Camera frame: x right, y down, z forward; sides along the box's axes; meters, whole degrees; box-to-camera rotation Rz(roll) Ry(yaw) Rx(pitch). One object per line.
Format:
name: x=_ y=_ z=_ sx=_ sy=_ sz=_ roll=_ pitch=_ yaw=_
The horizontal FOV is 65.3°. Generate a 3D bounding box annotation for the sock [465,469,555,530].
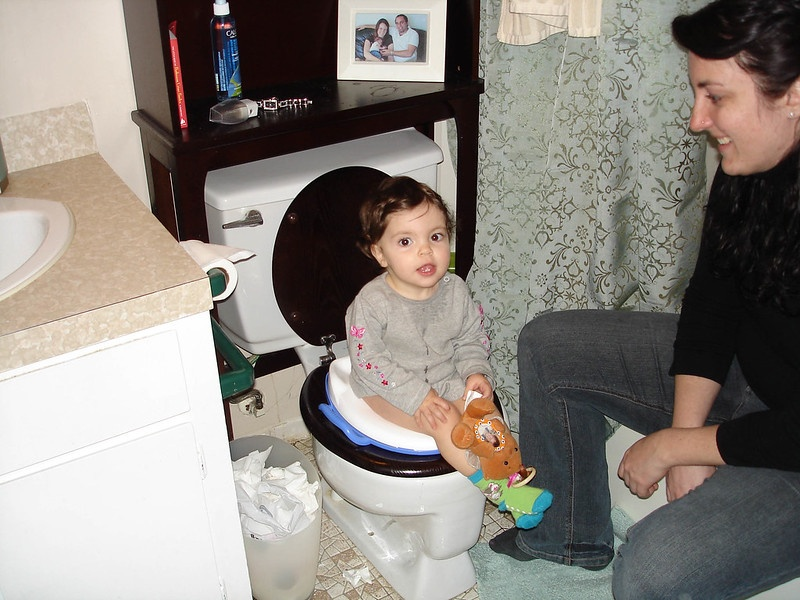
sock: x=0.254 y=0.437 z=1.432 sx=0.188 sy=0.117 sz=0.080 roll=32 pitch=26 yaw=6

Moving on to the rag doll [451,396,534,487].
rag doll: x=0.195 y=0.340 z=1.366 sx=0.204 sy=0.070 sz=0.152 roll=40 pitch=21 yaw=17

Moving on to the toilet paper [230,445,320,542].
toilet paper: x=-0.327 y=0.478 z=1.581 sx=0.175 sy=0.069 sz=0.203 roll=-19 pitch=43 yaw=-36

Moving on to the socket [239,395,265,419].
socket: x=-0.463 y=0.327 z=1.934 sx=0.065 sy=0.063 sz=0.070 roll=-21 pitch=30 yaw=-15

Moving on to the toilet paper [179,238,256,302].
toilet paper: x=-0.360 y=-0.067 z=1.259 sx=0.123 sy=0.093 sz=0.177 roll=-16 pitch=35 yaw=-20
